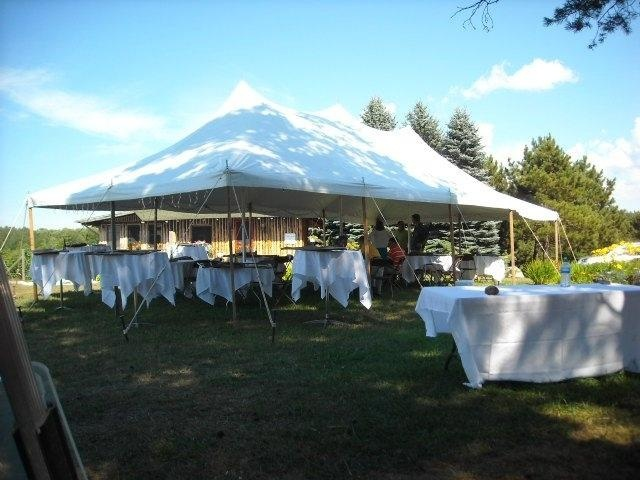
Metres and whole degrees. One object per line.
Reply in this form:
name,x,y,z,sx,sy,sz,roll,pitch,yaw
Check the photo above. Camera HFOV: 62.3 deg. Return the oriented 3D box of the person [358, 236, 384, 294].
person,1.026,0.503,10.518,0.693,1.047,0.722,-3,6,23
